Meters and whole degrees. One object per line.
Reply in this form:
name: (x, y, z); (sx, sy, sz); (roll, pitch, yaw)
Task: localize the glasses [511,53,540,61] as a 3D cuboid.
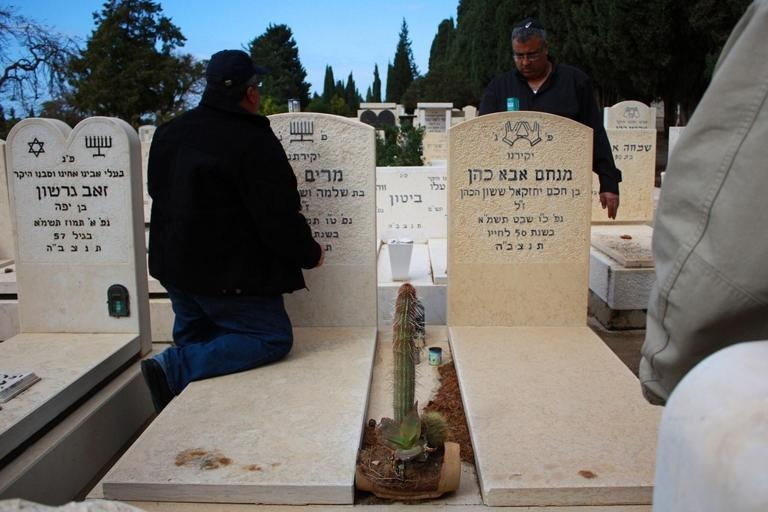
glasses: (1.074, -1.536, 4.400); (0.089, 0.066, 0.212); (-15, 17, -42)

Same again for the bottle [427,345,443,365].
bottle: (0.332, 0.659, 3.777); (0.104, 0.103, 0.097); (-2, 12, -2)

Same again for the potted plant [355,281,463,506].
potted plant: (0.096, 0.618, 2.625); (0.468, 0.894, 0.593); (-2, 13, 5)

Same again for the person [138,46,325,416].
person: (-0.983, -0.193, 3.464); (1.088, 2.044, 0.537); (-9, 14, -23)

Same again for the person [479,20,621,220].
person: (1.339, -1.094, 4.522); (0.633, 1.491, 1.154); (-15, 18, -42)
